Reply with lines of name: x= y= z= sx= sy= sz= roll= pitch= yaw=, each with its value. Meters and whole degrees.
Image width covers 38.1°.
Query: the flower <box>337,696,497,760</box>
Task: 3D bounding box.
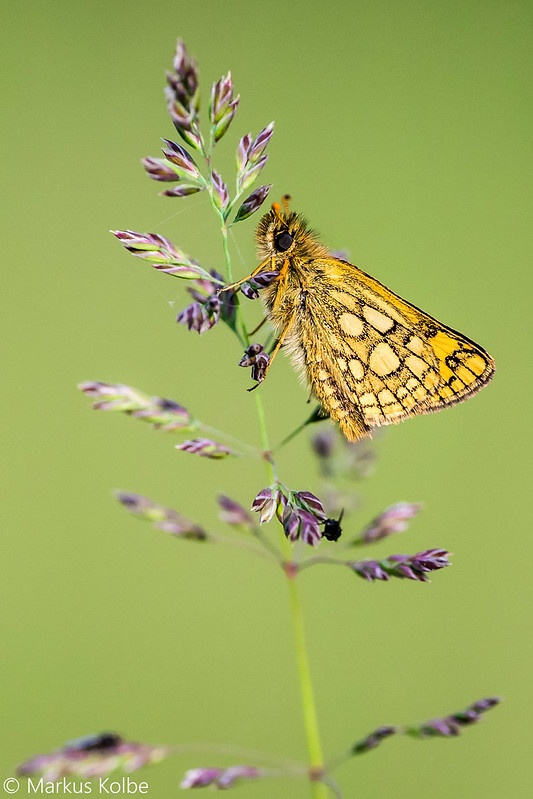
flower: x=0.259 y=0.504 z=1.174 sx=0.240 sy=0.057 sz=0.164 roll=-21 pitch=-43 yaw=18

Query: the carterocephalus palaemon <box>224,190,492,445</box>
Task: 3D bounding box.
carterocephalus palaemon: x=0.127 y=-0.079 z=1.345 sx=0.479 sy=0.294 sz=0.447 roll=12 pitch=-41 yaw=15
